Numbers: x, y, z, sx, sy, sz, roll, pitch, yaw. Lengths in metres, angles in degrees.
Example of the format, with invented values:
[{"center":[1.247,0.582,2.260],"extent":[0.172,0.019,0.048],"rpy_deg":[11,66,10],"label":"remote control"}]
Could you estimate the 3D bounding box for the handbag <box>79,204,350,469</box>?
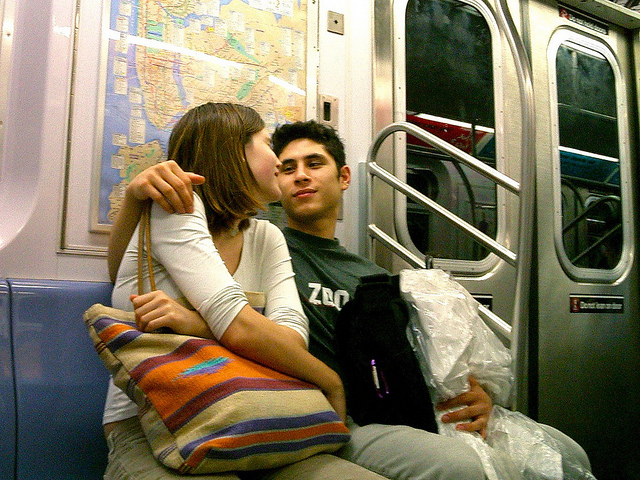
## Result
[{"center":[-0.343,0.464,1.745],"extent":[0.866,0.511,0.337],"rpy_deg":[2,2,5],"label":"handbag"}]
